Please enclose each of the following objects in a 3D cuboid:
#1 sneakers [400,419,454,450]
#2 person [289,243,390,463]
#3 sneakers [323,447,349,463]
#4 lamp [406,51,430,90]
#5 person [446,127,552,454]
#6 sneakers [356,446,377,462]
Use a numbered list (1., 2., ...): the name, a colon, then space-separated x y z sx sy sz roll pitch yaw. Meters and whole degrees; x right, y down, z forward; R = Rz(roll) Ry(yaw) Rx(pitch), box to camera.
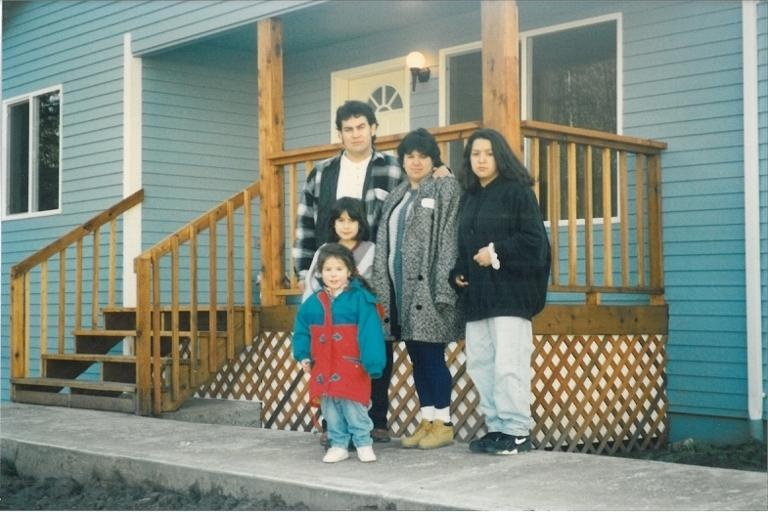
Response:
1. sneakers: 0.365 1.425 7.703 0.363 0.149 0.210 5 -9 -35
2. person: -0.351 0.738 7.421 0.709 1.674 0.246 -1 -5 2
3. sneakers: -0.375 1.530 7.450 0.219 0.083 0.085 4 -9 -29
4. lamp: 0.403 -2.231 11.508 0.298 0.429 0.265 -3 -5 26
5. person: 0.922 0.260 7.603 0.777 2.577 0.437 -1 -5 11
6. sneakers: -0.135 1.519 7.465 0.154 0.117 0.205 0 -4 -1
